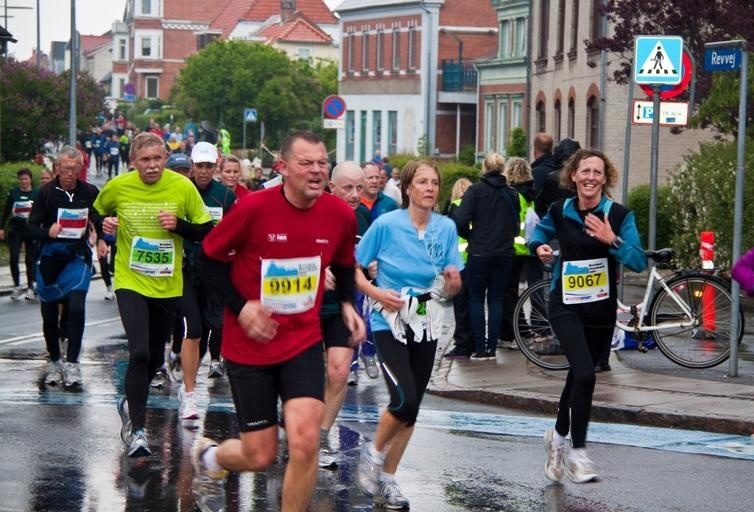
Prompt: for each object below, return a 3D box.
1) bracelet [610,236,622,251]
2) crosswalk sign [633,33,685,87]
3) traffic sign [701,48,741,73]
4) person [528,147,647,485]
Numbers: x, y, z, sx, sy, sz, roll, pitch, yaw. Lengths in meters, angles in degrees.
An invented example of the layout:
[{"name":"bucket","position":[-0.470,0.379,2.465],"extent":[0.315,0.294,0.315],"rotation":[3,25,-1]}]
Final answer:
[{"name":"bracelet","position":[1.968,-0.109,8.312],"extent":[0.092,0.055,0.053],"rotation":[-21,33,46]},{"name":"crosswalk sign","position":[3.650,-2.559,13.143],"extent":[0.616,0.663,0.147],"rotation":[0,-1,-3]},{"name":"traffic sign","position":[4.033,-2.313,11.733],"extent":[0.226,0.256,0.611],"rotation":[-3,5,-24]},{"name":"person","position":[1.735,0.395,8.739],"extent":[0.977,2.567,1.113],"rotation":[0,2,-9]}]
